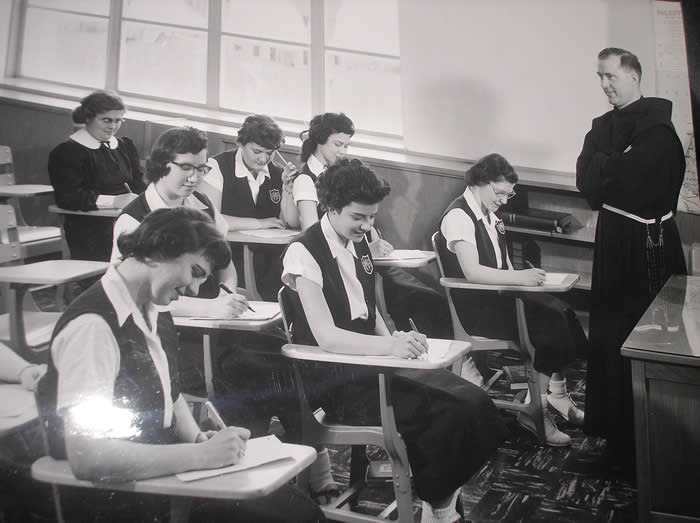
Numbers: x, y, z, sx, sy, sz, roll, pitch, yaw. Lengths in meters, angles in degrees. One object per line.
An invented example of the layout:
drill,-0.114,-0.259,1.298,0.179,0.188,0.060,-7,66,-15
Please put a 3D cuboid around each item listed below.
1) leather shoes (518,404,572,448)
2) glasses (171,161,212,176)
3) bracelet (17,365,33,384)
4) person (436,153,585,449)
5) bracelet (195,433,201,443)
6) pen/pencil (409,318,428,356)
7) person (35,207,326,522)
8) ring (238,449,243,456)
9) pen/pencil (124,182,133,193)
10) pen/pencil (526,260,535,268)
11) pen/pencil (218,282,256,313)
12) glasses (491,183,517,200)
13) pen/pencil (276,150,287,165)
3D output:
leather shoes,0.719,0.601,2.724,0.227,0.110,0.085,21,34,39
glasses,-0.429,-0.257,1.949,0.023,0.035,0.115,2,-2,44
bracelet,-0.831,0.288,1.835,0.026,0.022,0.037,1,28,5
person,0.625,0.117,2.757,0.523,1.094,0.407,7,20,37
bracelet,-0.381,0.440,1.793,0.014,0.016,0.015,0,-2,1
pen/pencil,0.211,0.230,2.234,0.014,0.093,0.027,-22,10,20
person,-0.283,0.185,1.998,0.711,1.046,0.570,1,8,1
ring,-0.239,0.419,1.582,0.010,0.012,0.010,3,19,-1
pen/pencil,-0.597,-0.201,1.931,0.030,0.030,0.004,2,-1,28
pen/pencil,0.672,0.007,2.681,0.007,0.013,0.038,4,44,-36
pen/pencil,-0.347,0.108,2.170,0.111,0.011,0.012,47,12,-4
glasses,0.572,-0.263,2.662,0.062,0.069,0.020,3,-31,-20
pen/pencil,-0.228,-0.349,2.375,0.007,0.007,0.065,40,-1,26
